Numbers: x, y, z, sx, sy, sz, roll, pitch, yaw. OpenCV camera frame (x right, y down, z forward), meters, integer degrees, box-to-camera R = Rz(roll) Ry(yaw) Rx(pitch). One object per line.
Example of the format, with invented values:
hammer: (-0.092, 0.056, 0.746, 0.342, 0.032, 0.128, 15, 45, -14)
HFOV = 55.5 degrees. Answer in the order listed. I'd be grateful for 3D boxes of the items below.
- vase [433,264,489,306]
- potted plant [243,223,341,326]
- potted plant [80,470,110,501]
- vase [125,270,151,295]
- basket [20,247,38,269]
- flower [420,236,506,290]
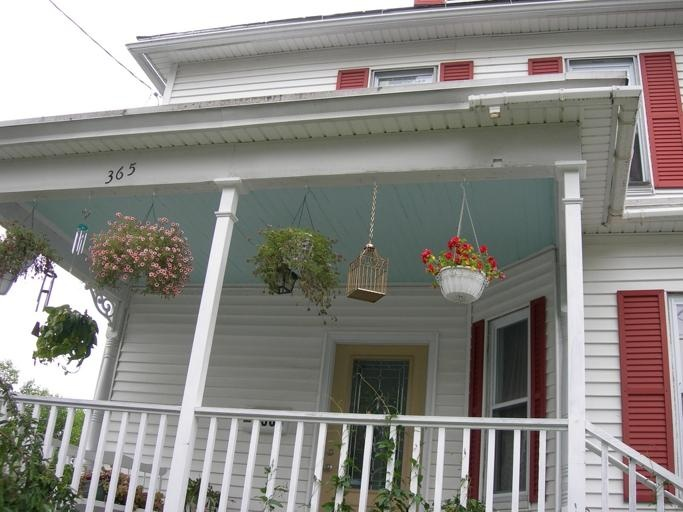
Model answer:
vase: (1.060, 0.235, 5.647, 0.334, 0.167, 0.358, -1, -35, 12)
potted plant: (-0.498, 0.184, 7.013, 0.860, 0.839, 0.770, 28, 2, -7)
potted plant: (-2.670, 2.448, 7.014, 0.284, 0.352, 1.662, 13, -24, -17)
vase: (-2.338, 0.294, 7.458, 0.309, 0.345, 0.113, -1, 11, 24)
basket: (-3.204, 0.026, 6.666, 0.087, 0.146, 0.173, -17, -3, -24)
flower: (1.057, 0.059, 5.571, 0.509, 0.387, 0.704, -14, -19, 39)
